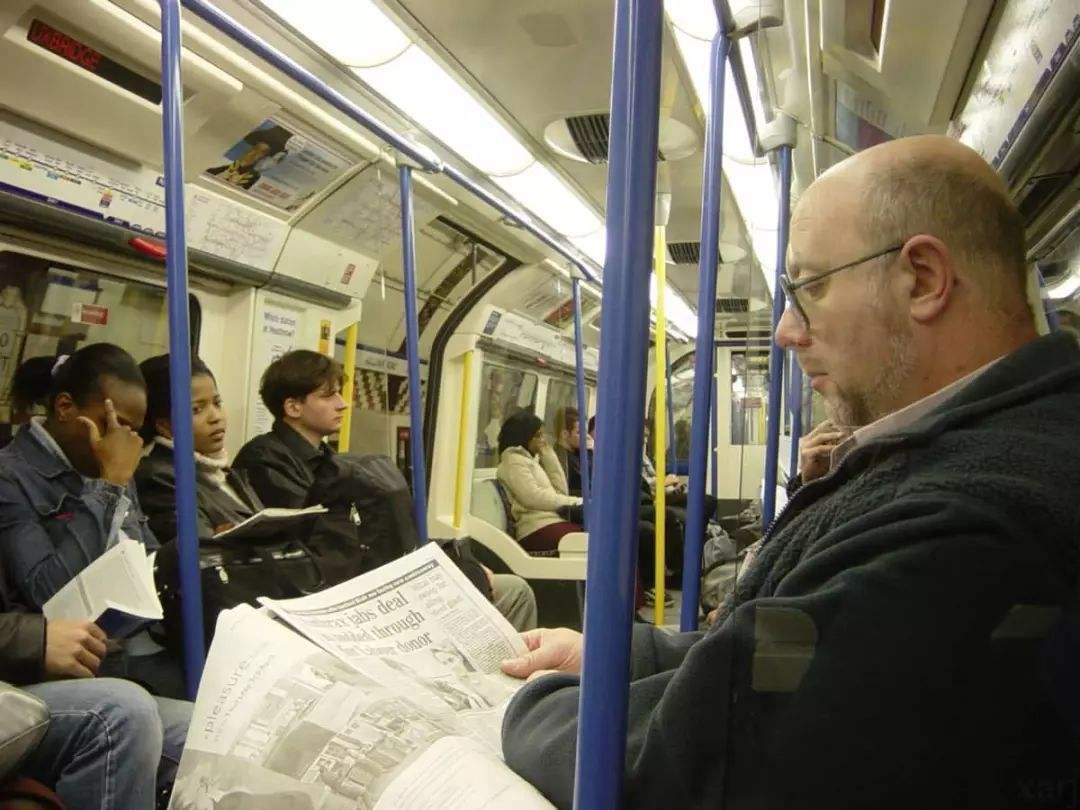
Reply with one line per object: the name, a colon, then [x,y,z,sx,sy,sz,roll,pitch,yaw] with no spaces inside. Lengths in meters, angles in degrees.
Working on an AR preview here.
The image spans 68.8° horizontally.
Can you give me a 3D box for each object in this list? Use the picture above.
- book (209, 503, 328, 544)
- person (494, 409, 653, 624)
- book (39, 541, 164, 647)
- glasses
book: [-1.043,0.453,2.984,0.429,0.048,0.339,-27,-20,33]
person: [0.149,0.808,6.394,0.810,1.625,0.547,-15,-11,20]
book: [-1.152,0.527,2.038,0.329,0.262,0.121,-33,-32,9]
glasses: [0.497,-0.217,1.348,0.117,0.037,0.116,-27,-1,9]
